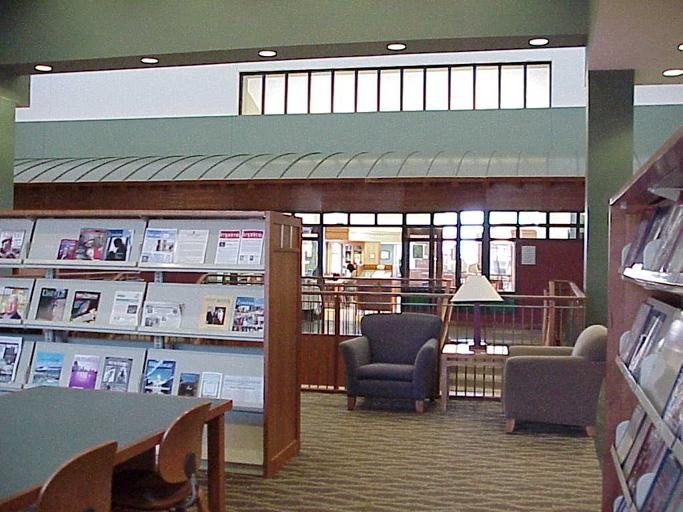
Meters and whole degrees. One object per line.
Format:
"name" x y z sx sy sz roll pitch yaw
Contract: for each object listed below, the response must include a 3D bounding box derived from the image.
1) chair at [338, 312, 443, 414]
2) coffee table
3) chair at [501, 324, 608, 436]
"chair" 0.674 1.344 7.052 1.193 1.173 1.031 -1 -5 20
"coffee table" 1.716 1.579 6.999 0.930 0.829 0.976 0 -4 12
"chair" 2.268 1.293 6.244 1.186 1.206 1.143 0 -2 11
